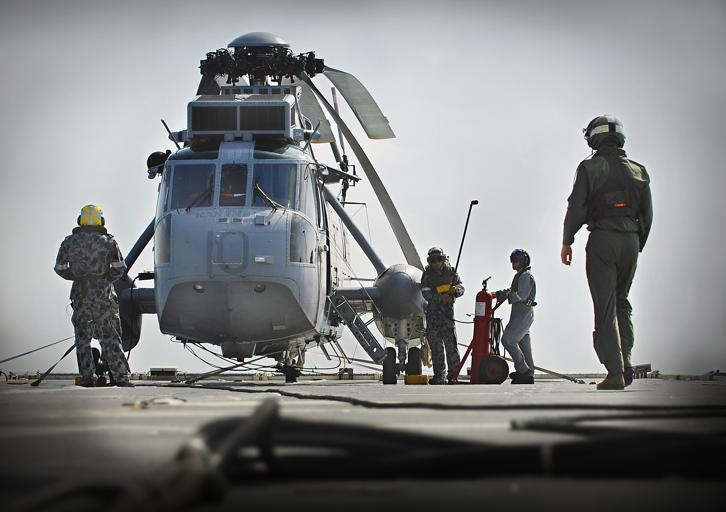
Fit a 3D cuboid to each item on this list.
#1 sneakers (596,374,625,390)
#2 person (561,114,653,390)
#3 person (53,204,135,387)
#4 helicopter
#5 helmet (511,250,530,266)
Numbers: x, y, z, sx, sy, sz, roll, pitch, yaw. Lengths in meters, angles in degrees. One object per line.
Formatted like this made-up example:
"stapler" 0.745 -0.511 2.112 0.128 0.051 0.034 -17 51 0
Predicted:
"sneakers" 1.976 1.000 8.215 0.212 0.125 0.355 1 2 15
"person" 1.991 -0.039 8.440 0.711 2.299 0.952 1 2 14
"person" -2.711 0.387 10.266 0.711 1.762 0.492 0 2 -13
"helicopter" -1.106 -0.661 13.396 3.823 4.895 4.150 1 2 3
"helmet" 1.633 0.015 10.745 0.181 0.152 0.138 25 19 27
